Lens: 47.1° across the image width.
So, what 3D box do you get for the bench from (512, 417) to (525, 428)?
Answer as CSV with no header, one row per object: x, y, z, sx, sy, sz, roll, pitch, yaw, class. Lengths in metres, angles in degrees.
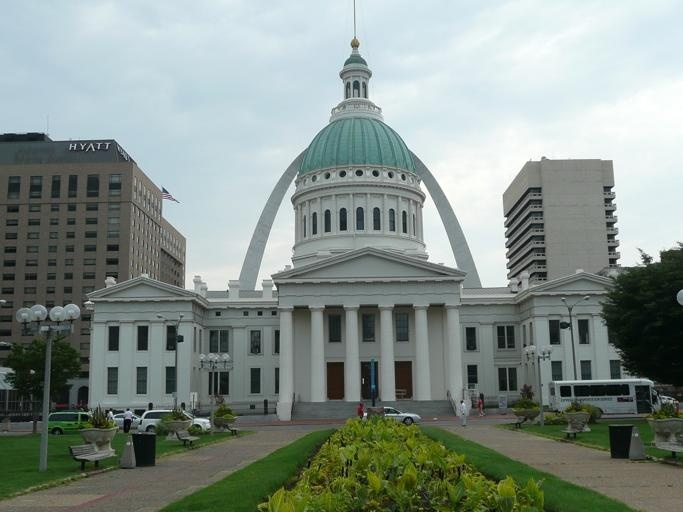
11.712,11.188,52.614,0.843,0.929,0.899,-4,-13,21,bench

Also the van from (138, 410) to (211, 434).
-11.234,11.133,53.045,4.576,1.670,8.813,2,-14,-16,van

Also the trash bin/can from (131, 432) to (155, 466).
-8.610,8.457,34.086,1.314,1.608,0.917,-1,-10,-6,trash bin/can

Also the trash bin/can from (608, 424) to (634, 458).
11.675,7.897,33.352,1.327,1.365,1.251,-2,-9,19,trash bin/can
